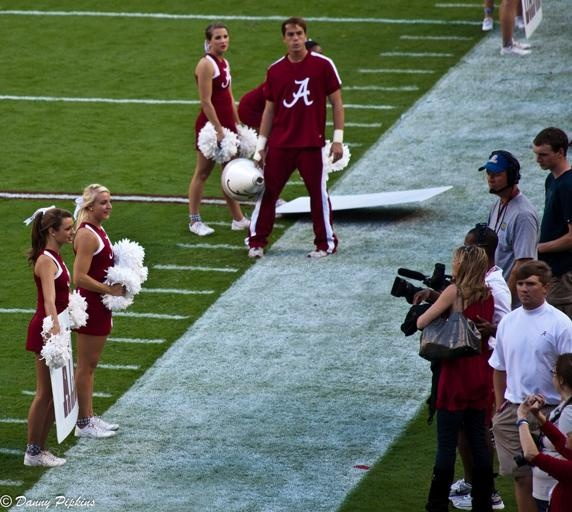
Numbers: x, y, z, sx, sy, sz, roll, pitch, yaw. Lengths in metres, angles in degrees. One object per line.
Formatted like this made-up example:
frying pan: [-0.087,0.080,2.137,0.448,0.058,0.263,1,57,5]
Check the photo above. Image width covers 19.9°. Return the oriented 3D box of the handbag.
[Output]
handbag: [1.110,0.538,10.967,0.281,0.257,0.114,-12,-20,23]

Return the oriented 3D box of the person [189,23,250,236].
person: [-0.680,-1.190,15.119,0.582,1.988,0.633,-3,20,-4]

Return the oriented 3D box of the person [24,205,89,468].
person: [-1.723,0.568,11.789,0.532,1.791,0.747,-4,20,-7]

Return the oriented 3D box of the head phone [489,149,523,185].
head phone: [1.644,-0.663,11.842,0.218,0.259,0.196,-15,19,-28]

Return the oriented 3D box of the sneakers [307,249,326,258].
sneakers: [0.289,-0.023,14.643,0.134,0.052,0.069,1,3,-20]

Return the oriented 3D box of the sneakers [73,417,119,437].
sneakers: [-1.431,1.288,12.076,0.235,0.093,0.168,1,7,1]

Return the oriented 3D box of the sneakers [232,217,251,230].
sneakers: [-0.426,-0.308,15.426,0.218,0.089,0.084,-9,29,3]

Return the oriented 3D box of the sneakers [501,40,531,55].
sneakers: [2.864,-2.581,20.095,0.463,0.185,0.154,-3,27,-4]

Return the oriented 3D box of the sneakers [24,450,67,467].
sneakers: [-1.767,1.475,11.776,0.286,0.107,0.109,1,10,-7]

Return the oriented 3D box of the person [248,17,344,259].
person: [0.063,-1.051,14.447,0.893,2.160,0.394,-2,20,1]

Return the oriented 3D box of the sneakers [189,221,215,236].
sneakers: [-0.809,-0.264,15.287,0.120,0.088,0.213,-26,23,-35]

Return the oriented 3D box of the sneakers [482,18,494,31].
sneakers: [2.670,-3.054,21.290,0.127,0.151,0.370,4,18,7]

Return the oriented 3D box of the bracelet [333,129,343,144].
bracelet: [0.495,-1.072,14.449,0.131,0.136,0.127,0,6,-11]
